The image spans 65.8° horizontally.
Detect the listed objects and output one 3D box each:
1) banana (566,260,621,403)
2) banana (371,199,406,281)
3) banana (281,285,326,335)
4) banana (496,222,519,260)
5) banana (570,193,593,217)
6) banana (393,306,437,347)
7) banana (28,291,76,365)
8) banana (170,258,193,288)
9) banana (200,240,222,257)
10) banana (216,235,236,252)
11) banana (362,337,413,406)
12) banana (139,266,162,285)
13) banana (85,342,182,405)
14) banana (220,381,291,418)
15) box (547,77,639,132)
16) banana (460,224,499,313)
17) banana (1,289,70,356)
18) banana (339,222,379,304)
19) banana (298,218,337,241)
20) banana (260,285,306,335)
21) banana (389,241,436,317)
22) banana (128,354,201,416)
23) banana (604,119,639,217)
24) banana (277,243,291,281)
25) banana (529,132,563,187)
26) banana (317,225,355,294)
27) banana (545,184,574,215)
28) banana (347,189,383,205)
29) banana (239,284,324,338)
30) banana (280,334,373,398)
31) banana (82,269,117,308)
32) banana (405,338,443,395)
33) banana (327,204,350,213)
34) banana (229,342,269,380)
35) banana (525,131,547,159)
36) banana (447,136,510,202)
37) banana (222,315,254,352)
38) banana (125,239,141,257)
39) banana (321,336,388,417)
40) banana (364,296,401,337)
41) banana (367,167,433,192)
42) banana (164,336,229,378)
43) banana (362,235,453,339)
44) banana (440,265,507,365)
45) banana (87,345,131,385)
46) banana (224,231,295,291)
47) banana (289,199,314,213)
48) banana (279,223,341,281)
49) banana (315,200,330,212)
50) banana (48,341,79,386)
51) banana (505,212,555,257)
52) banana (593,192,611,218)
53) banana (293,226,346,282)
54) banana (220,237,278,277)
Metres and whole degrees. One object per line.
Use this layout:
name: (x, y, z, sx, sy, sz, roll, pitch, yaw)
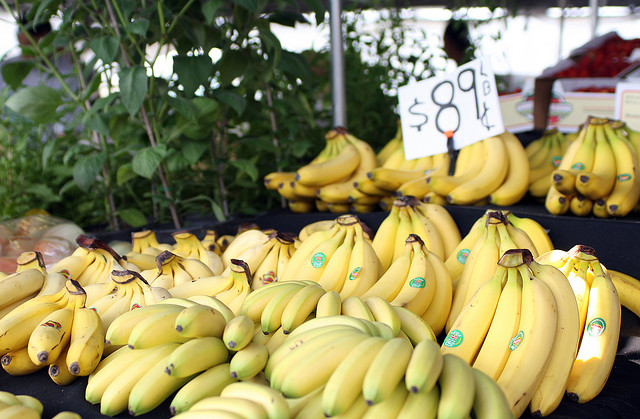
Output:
banana: (0.904, 0.390, 1.687, 0.128, 0.512, 0.165, 4, -21, 41)
banana: (0.284, 0.122, 2.143, 0.099, 0.387, 0.134, -2, -26, 46)
banana: (-0.051, 0.305, 1.630, 0.070, 0.067, 0.219, -40, 2, 44)
banana: (0.700, 0.117, 1.832, 0.077, 0.109, 0.165, 1, 15, 20)
banana: (1.083, -0.015, 2.070, 0.078, 0.104, 0.093, 1, 29, 20)
banana: (0.303, 0.376, 1.596, 0.190, 0.063, 0.063, 35, -8, 28)
banana: (-0.880, 0.406, 1.669, 0.074, 0.100, 0.287, -10, 35, 16)
banana: (-0.557, 0.259, 1.967, 0.028, 0.106, 0.039, -46, -8, 35)
banana: (-0.524, 0.179, 2.366, 0.078, 0.045, 0.066, 26, 9, -7)
banana: (-0.475, 0.168, 2.451, 0.064, 0.047, 0.081, -14, 21, -5)
banana: (0.190, 0.446, 1.352, 0.178, 0.135, 0.075, -16, 18, -40)
banana: (-0.696, 0.265, 2.023, 0.056, 0.026, 0.096, -30, 15, -1)
banana: (-0.571, 0.511, 1.525, 0.241, 0.067, 0.082, -34, 19, -18)
banana: (-0.173, 0.527, 1.388, 0.159, 0.051, 0.078, 17, 29, 38)
box: (1.426, -0.523, 2.574, 0.366, 0.237, 0.377, 4, 11, 28)
banana: (0.600, 0.207, 1.866, 0.086, 0.376, 0.125, 19, -12, 10)
banana: (-0.968, 0.391, 1.673, 0.068, 0.087, 0.256, 19, 46, 30)
banana: (0.162, 0.209, 1.918, 0.080, 0.117, 0.322, 25, 60, 0)
banana: (-0.022, 0.094, 2.361, 0.117, 0.046, 0.120, -3, 20, 38)
banana: (-0.135, 0.319, 1.655, 0.064, 0.076, 0.229, 5, 47, 42)
banana: (0.374, 0.240, 1.874, 0.110, 0.147, 0.395, -18, -25, -4)
banana: (-0.466, 0.533, 1.482, 0.236, 0.090, 0.065, -29, 57, -32)
banana: (1.262, -0.154, 2.069, 0.126, 0.394, 0.082, 16, -32, -17)
banana: (-0.151, 0.223, 2.111, 0.039, 0.157, 0.052, 13, -27, -2)
banana: (1.077, -0.229, 2.355, 0.159, 0.098, 0.477, -12, 30, 29)
banana: (0.080, 0.218, 1.946, 0.071, 0.330, 0.117, 18, -21, 9)
banana: (1.001, -0.029, 2.081, 0.050, 0.111, 0.168, -9, 13, 7)
banana: (0.237, -0.057, 2.603, 0.063, 0.085, 0.235, -16, -10, 40)
banana: (-0.121, 0.316, 1.600, 0.217, 0.068, 0.177, -32, 26, -33)
banana: (0.032, 0.454, 1.426, 0.311, 0.109, 0.087, -16, 14, -13)
banana: (-0.843, 0.310, 1.941, 0.081, 0.068, 0.236, 5, 5, -1)
banana: (0.285, 0.448, 1.387, 0.101, 0.082, 0.221, -3, 15, 14)
banana: (0.099, -0.005, 2.633, 0.110, 0.053, 0.044, -3, 14, 7)
banana: (-0.213, 0.456, 1.517, 0.067, 0.076, 0.131, -26, 2, 38)
banana: (1.118, -0.322, 2.539, 0.194, 0.041, 0.074, -42, 11, -23)
banana: (0.745, -0.154, 2.325, 0.224, 0.102, 0.429, 10, 64, 37)
banana: (-0.249, 0.375, 1.491, 0.069, 0.068, 0.109, 2, 20, 3)
banana: (-0.866, 0.193, 2.278, 0.064, 0.057, 0.225, -10, 15, -20)
banana: (0.127, 0.454, 1.403, 0.297, 0.086, 0.097, -50, -10, -12)
banana: (0.211, 0.332, 1.574, 0.081, 0.050, 0.159, -38, 29, -18)
banana: (0.415, -0.164, 2.523, 0.445, 0.155, 0.112, -13, 19, -42)
banana: (-0.374, 0.441, 1.492, 0.180, 0.094, 0.064, -27, -24, -38)
banana: (0.383, 0.300, 1.814, 0.198, 0.162, 0.332, -8, 46, 46)
banana: (0.513, 0.356, 1.633, 0.299, 0.072, 0.105, -55, 3, -11)
banana: (-0.677, 0.499, 1.575, 0.152, 0.040, 0.051, -49, -6, -13)
banana: (-0.248, 0.196, 2.119, 0.275, 0.110, 0.208, -39, 48, -26)
banana: (-0.104, -0.022, 2.755, 0.137, 0.082, 0.072, -6, 14, -4)
banana: (-0.039, 0.183, 2.010, 0.076, 0.058, 0.225, 28, 65, 28)
banana: (0.014, -0.019, 2.687, 0.024, 0.033, 0.069, -24, -29, 23)
banana: (-0.840, 0.502, 1.661, 0.051, 0.154, 0.095, 19, -15, -23)
banana: (0.828, 0.106, 1.939, 0.045, 0.167, 0.065, -41, -13, 2)
banana: (1.156, -0.017, 2.031, 0.047, 0.089, 0.066, 14, 19, 42)
banana: (-0.001, 0.185, 1.964, 0.047, 0.070, 0.204, 27, 68, 26)
banana: (-0.272, 0.201, 2.136, 0.337, 0.118, 0.092, -22, 3, 36)
